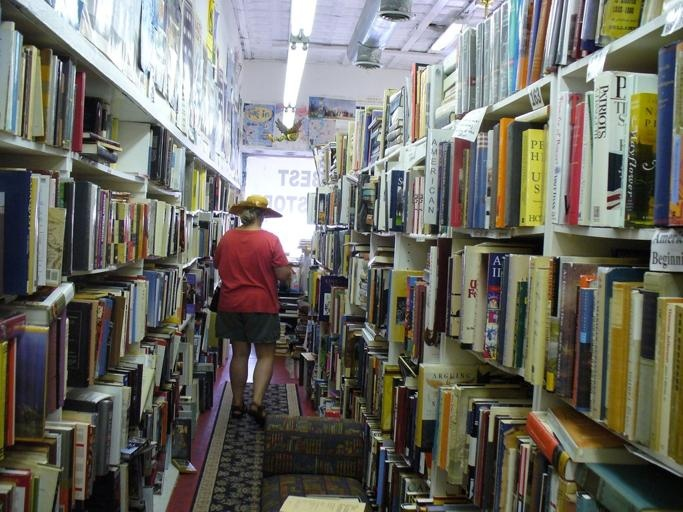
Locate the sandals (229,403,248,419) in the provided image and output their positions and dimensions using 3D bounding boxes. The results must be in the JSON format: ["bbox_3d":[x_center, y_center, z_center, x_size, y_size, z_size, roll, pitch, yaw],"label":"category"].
[{"bbox_3d":[-0.816,1.233,4.676,0.081,0.089,0.232,0,-15,-2],"label":"sandals"}]
